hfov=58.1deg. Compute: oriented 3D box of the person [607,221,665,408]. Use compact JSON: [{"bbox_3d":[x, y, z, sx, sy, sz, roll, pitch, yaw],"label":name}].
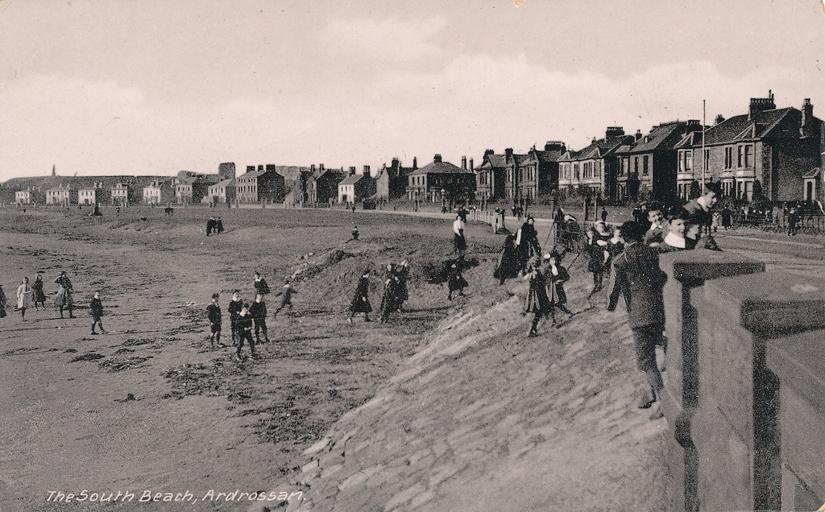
[{"bbox_3d":[4.723,1.060,15.514,1.091,3.545,0.633,1,4,29],"label":"person"}]
